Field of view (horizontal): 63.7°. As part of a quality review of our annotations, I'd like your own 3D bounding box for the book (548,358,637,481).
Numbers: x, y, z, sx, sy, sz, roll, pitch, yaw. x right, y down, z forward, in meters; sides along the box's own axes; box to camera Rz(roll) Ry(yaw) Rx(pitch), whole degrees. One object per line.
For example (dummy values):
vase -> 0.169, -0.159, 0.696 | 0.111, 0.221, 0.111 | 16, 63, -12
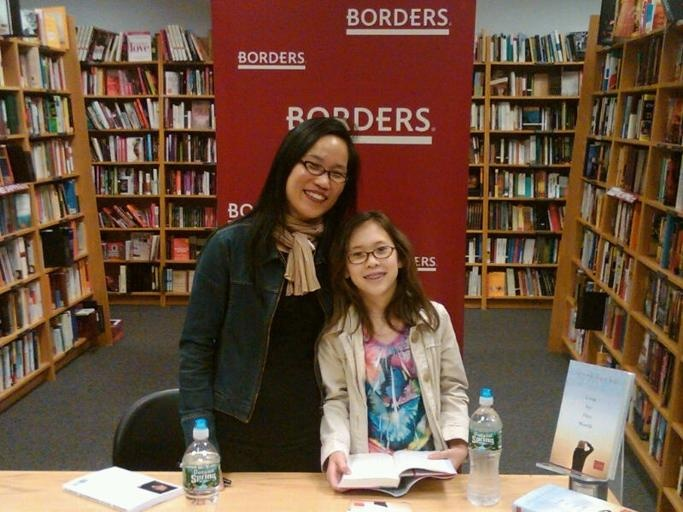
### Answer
book -> 0.805, 0.529, 1.774 | 0.222, 0.361, 0.158 | 5, 15, 31
